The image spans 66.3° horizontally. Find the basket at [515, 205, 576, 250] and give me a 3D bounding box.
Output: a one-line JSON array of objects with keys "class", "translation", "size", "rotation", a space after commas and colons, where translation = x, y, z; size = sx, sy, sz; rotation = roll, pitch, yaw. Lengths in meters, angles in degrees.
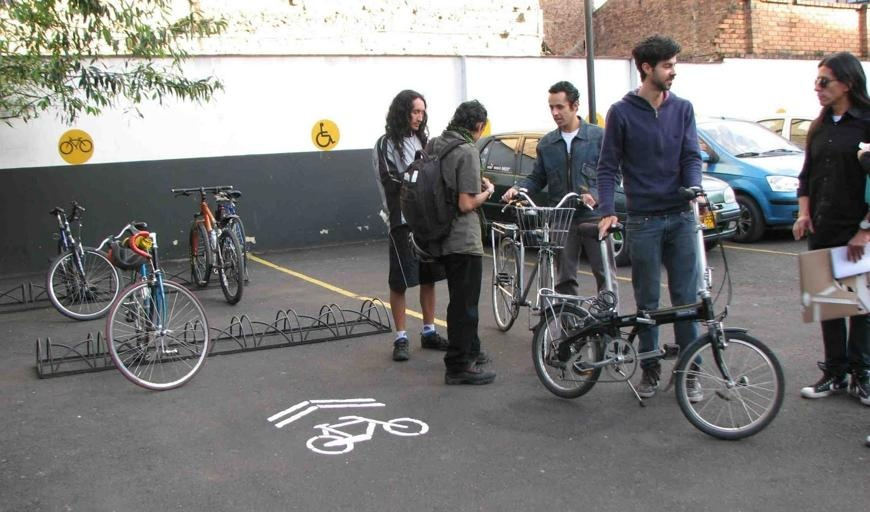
[{"class": "basket", "translation": [1.292, -0.326, 7.751], "size": [0.464, 0.414, 0.644], "rotation": [1, -3, 9]}]

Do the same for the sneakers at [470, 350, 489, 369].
[{"class": "sneakers", "translation": [0.504, 1.228, 7.966], "size": [0.273, 0.122, 0.132], "rotation": [-9, 15, 8]}]

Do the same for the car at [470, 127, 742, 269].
[{"class": "car", "translation": [2.705, -1.194, 12.402], "size": [5.172, 1.863, 2.353], "rotation": [3, 6, 37]}]

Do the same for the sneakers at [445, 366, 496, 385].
[{"class": "sneakers", "translation": [0.407, 1.362, 7.520], "size": [0.550, 0.259, 0.215], "rotation": [-2, 12, -3]}]

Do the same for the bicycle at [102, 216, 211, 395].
[{"class": "bicycle", "translation": [-3.342, 0.581, 7.968], "size": [1.075, 1.734, 1.166], "rotation": [-9, 15, -23]}]

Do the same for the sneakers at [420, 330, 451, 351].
[{"class": "sneakers", "translation": [0.018, 1.081, 8.482], "size": [0.364, 0.172, 0.178], "rotation": [2, 10, 5]}]

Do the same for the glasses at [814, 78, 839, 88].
[{"class": "glasses", "translation": [3.973, -1.771, 6.713], "size": [0.143, 0.046, 0.136], "rotation": [5, 5, -10]}]

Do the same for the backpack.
[{"class": "backpack", "translation": [-0.014, -0.700, 7.312], "size": [0.675, 1.115, 0.291], "rotation": [-2, 14, 3]}]

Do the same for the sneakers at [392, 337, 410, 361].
[{"class": "sneakers", "translation": [-0.409, 1.155, 8.208], "size": [0.139, 0.141, 0.361], "rotation": [0, 3, -6]}]
